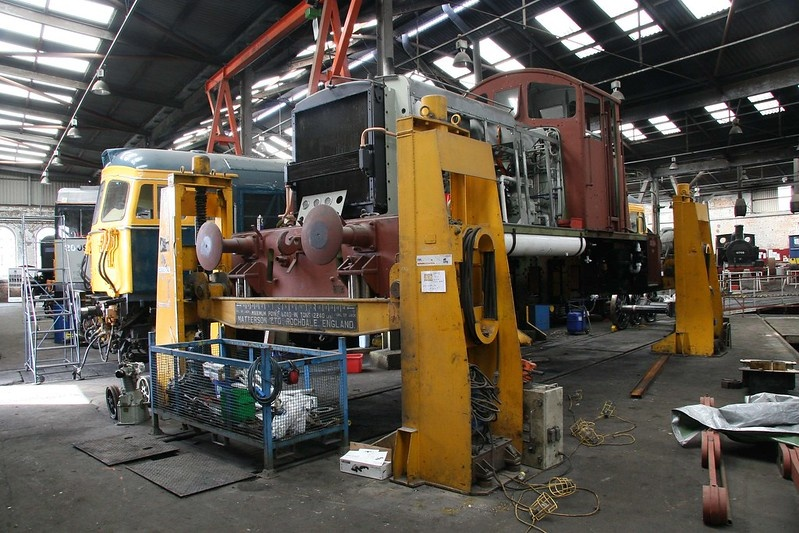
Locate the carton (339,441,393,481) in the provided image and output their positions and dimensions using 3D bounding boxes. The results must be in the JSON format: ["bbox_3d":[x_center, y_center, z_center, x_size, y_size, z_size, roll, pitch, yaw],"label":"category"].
[{"bbox_3d":[-0.359,2.099,6.079,0.570,0.306,0.207,-4,-6,33],"label":"carton"}]

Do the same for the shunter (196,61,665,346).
[{"bbox_3d":[1.292,-1.383,9.712,7.400,3.592,3.875,0,-2,-35],"label":"shunter"}]
